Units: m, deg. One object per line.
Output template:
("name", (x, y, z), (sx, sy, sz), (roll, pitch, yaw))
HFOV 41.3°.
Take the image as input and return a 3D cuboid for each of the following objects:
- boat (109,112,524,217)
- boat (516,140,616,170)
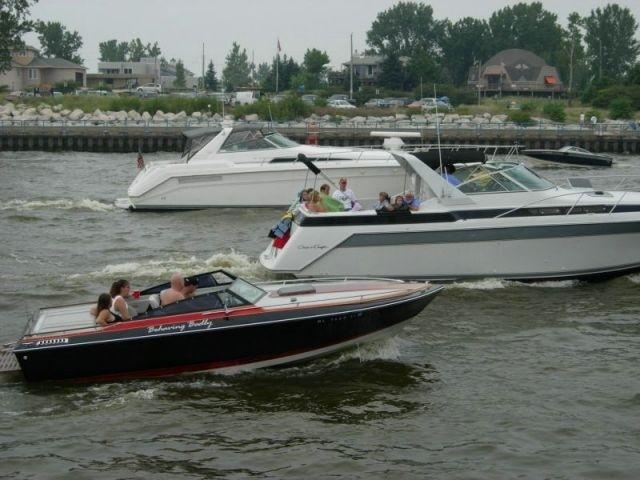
("boat", (2.260, -1.867, 25.777), (16.397, 2.471, 3.138), (-1, 9, -4))
("boat", (12.374, -4.006, 41.050), (4.934, 0.730, 1.378), (6, 7, 22))
